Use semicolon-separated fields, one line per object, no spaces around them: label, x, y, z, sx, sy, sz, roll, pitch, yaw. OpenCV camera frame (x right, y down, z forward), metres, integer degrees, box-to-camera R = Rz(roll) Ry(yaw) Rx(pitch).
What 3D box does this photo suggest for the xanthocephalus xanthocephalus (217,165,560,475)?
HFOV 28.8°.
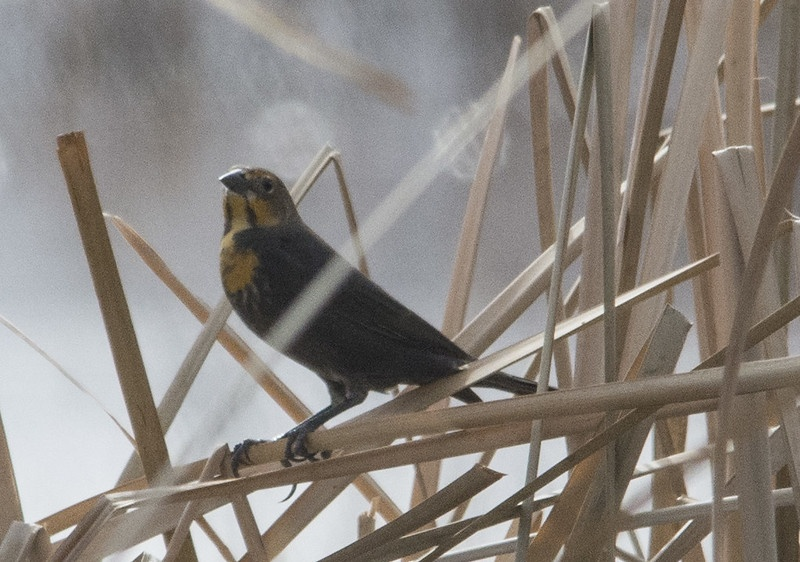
xanthocephalus xanthocephalus;-0.004;0.047;2.555;0.623;0.426;0.199;2;-2;-29
